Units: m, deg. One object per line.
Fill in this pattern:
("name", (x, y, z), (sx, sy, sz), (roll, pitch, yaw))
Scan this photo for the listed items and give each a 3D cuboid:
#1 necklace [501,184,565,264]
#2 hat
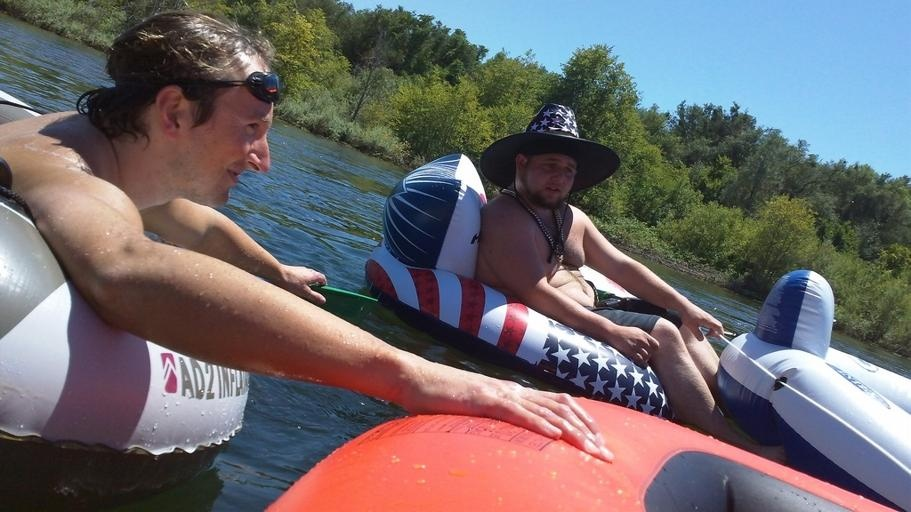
("necklace", (0.661, -0.241, 5.933), (0.191, 0.680, 0.506), (-16, -4, 42))
("hat", (0.934, -1.158, 6.121), (1.103, 0.423, 0.793), (15, -9, -42))
